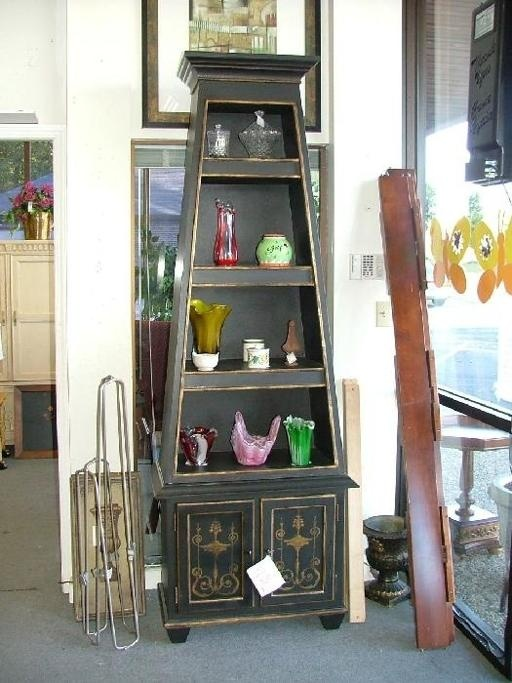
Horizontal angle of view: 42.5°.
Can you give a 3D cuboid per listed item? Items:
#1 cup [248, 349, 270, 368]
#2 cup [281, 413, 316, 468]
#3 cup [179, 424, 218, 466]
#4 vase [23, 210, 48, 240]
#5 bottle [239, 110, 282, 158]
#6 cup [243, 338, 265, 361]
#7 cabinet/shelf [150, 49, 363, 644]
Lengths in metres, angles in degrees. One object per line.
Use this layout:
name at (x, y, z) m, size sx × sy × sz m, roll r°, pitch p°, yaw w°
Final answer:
cup at (0.006, 0.067, 2.618) m, size 0.066 × 0.074 × 0.073 m, roll 0°, pitch -3°, yaw 8°
cup at (0.175, 0.399, 2.648) m, size 0.115 × 0.178 × 0.123 m, roll -3°, pitch 1°, yaw 0°
cup at (-0.233, 0.410, 2.633) m, size 0.128 × 0.142 × 0.139 m, roll 1°, pitch -3°, yaw 0°
vase at (-1.872, -0.998, 5.665) m, size 0.198 × 0.212 × 0.221 m, roll -12°, pitch 27°, yaw -35°
bottle at (0.013, -0.833, 2.681) m, size 0.159 × 0.212 × 0.170 m, roll -1°, pitch -5°, yaw 0°
cup at (-0.014, 0.029, 2.684) m, size 0.076 × 0.099 × 0.082 m, roll 2°, pitch 5°, yaw 0°
cabinet/shelf at (-0.008, 0.018, 2.699) m, size 0.675 × 2.247 × 0.422 m, roll 0°, pitch 0°, yaw 2°
